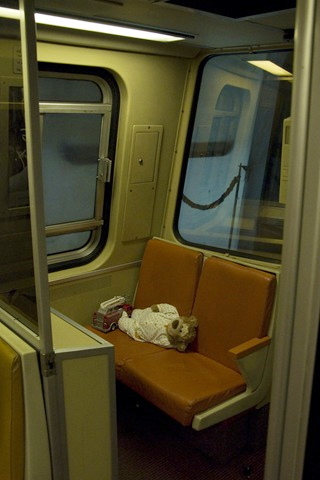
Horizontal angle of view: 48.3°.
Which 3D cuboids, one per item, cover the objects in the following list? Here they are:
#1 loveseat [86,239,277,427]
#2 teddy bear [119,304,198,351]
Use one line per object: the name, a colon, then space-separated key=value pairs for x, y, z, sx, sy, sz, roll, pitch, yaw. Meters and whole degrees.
loveseat: x=0.176 y=0.643 z=2.953 sx=0.907 sy=0.985 sz=1.331 roll=-4 pitch=13 yaw=-43
teddy bear: x=-0.010 y=0.750 z=3.182 sx=0.573 sy=0.198 sz=0.366 roll=4 pitch=52 yaw=28
